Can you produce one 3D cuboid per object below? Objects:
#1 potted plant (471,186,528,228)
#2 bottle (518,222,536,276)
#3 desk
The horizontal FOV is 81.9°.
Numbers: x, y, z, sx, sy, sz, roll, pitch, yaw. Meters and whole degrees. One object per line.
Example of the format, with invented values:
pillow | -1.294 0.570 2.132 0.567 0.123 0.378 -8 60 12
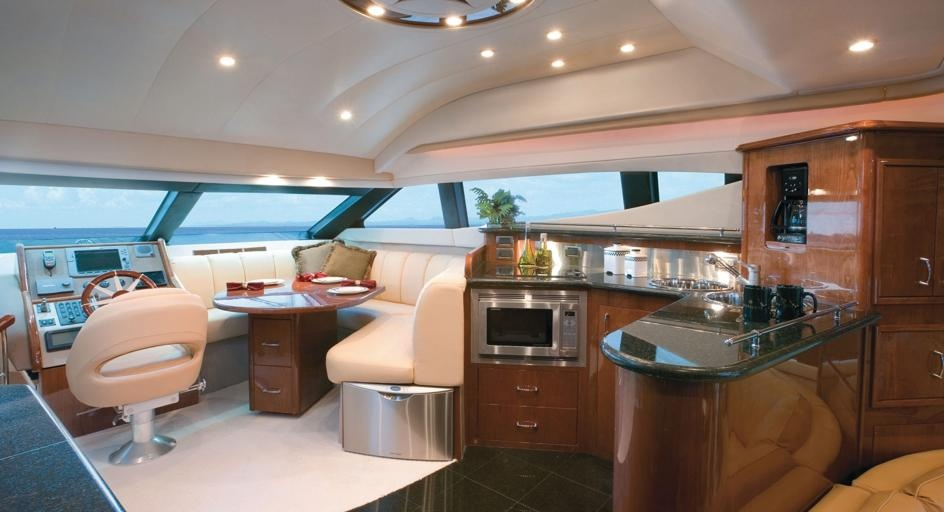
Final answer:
potted plant | 0.370 -0.627 6.911 0.690 0.398 0.640 -2 2 -20
bottle | 0.541 -0.098 5.425 0.168 0.455 0.440 -1 2 6
desk | -1.678 0.913 5.541 1.252 0.842 1.494 1 1 9
